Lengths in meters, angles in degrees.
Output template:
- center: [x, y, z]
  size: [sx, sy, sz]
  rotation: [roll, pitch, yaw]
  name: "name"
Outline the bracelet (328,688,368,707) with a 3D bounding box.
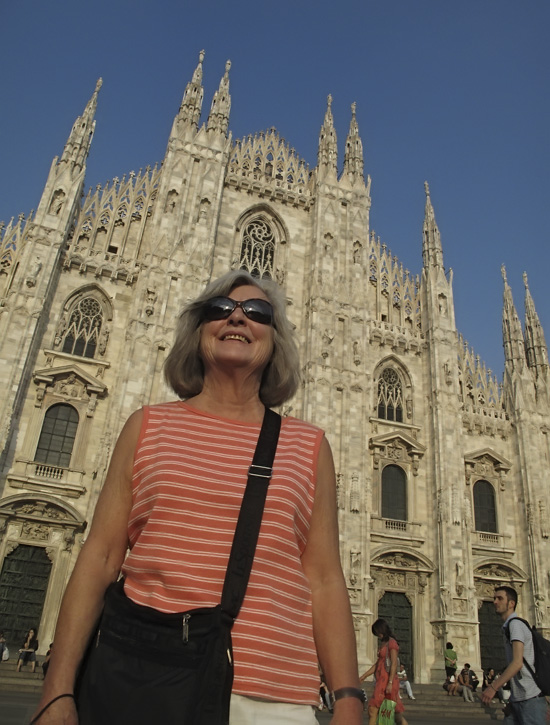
- center: [0.176, 0.731, 1.471]
  size: [0.073, 0.035, 0.166]
  rotation: [-8, -29, 28]
  name: "bracelet"
